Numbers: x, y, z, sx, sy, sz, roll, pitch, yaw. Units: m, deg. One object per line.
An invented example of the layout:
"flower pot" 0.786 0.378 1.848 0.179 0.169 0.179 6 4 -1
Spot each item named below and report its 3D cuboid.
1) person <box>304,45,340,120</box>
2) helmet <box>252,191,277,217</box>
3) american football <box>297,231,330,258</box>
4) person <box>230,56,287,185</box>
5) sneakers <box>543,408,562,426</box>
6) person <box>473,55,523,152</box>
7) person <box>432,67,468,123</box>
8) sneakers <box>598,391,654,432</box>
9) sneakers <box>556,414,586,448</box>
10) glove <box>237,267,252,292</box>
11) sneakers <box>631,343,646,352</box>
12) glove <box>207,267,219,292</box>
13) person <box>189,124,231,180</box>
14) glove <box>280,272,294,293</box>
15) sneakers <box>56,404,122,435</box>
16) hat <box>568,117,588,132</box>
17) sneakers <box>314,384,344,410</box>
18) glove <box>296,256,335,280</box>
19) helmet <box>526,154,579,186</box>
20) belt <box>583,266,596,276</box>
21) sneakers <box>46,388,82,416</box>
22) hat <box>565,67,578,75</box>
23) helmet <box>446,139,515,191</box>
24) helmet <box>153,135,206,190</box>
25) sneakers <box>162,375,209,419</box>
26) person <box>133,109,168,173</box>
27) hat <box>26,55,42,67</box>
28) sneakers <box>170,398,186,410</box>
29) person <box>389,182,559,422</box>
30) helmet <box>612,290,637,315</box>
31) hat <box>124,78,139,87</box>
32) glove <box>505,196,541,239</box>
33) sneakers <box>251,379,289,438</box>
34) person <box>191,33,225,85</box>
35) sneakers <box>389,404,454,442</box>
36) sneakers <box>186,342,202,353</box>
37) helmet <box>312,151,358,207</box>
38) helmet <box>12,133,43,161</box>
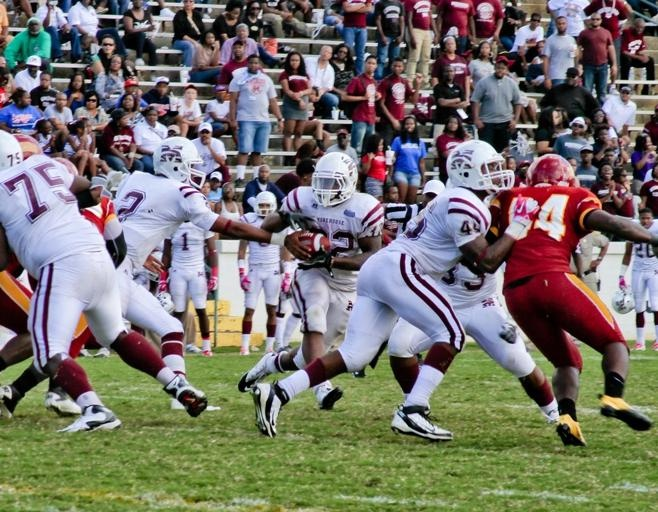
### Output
"person" -0.106 -2.293 15.452 0.445 0.940 0.699 2 6 7
"helmet" -0.672 -0.561 12.432 0.247 0.229 0.294 1 -3 4
"american football" -0.116 -0.096 8.665 0.245 0.141 0.158 19 -3 39
"person" -0.946 -1.717 14.706 0.683 1.552 0.477 -1 7 -23
"sneakers" 1.593 1.167 8.431 0.060 0.076 0.155 -41 -7 -13
"person" 2.190 -2.000 15.435 0.641 1.252 0.522 2 6 8
"person" 1.593 -2.096 15.159 0.463 0.749 0.753 -1 6 -19
"sneakers" 1.946 1.049 7.759 0.328 0.241 0.206 2 6 11
"sneakers" 1.618 1.198 7.896 0.148 0.246 0.112 -31 11 18
"glove" -0.928 0.259 12.786 0.085 0.233 0.176 -13 -36 1
"sneakers" 3.535 1.050 13.395 0.213 0.087 0.075 4 -5 -33
"glove" -1.281 0.240 12.874 0.126 0.302 0.087 13 -14 0
"person" -1.524 -1.238 14.159 0.616 0.732 0.599 -3 10 -10
"glove" -0.458 0.297 12.526 0.101 0.252 0.189 10 4 -17
"sneakers" -1.569 1.091 7.784 0.473 0.193 0.152 0 -2 -11
"hat" 3.110 -1.664 14.737 0.169 0.114 0.231 5 5 8
"sneakers" -0.012 1.077 8.966 0.111 0.128 0.273 -43 1 -19
"glove" -0.096 0.078 8.689 0.184 0.066 0.170 0 29 -9
"helmet" 1.571 -0.606 8.309 0.312 0.232 0.216 1 15 -9
"belt" 2.994 0.178 13.537 0.057 0.108 0.271 -4 6 45
"sneakers" -1.859 1.028 8.226 0.279 0.101 0.134 46 6 -46
"hat" 3.212 -2.457 15.606 0.143 0.128 0.297 2 6 11
"helmet" 1.079 -0.624 8.370 0.512 0.307 0.370 6 -3 38
"helmet" -1.120 -0.711 8.801 0.452 0.352 0.333 8 8 -1
"sneakers" -1.071 0.977 8.232 0.221 0.161 0.457 28 4 -45
"person" -2.072 -1.429 13.875 0.451 0.376 1.069 -2 -31 -8
"hat" -3.508 -2.339 13.954 0.137 0.090 0.177 7 15 -22
"sneakers" -1.141 1.121 8.759 0.131 0.112 0.125 1 -4 6
"person" 1.045 0.366 8.434 1.356 1.031 1.955 10 39 -4
"helmet" 3.425 0.537 13.744 0.237 0.267 0.279 5 6 25
"hat" -2.364 -2.074 13.944 0.198 0.092 0.271 0 2 -11
"glove" 1.313 -0.269 8.053 0.227 0.299 0.116 12 -7 18
"sneakers" -0.422 1.018 7.995 0.238 0.443 0.155 -17 8 -13
"person" -1.632 -2.618 15.452 0.442 0.665 0.306 2 6 3
"sneakers" 0.591 1.165 8.131 0.558 0.249 0.175 11 -11 -6
"sneakers" -1.508 1.005 12.751 0.221 0.089 0.071 6 21 8
"helmet" 0.071 -0.526 8.827 0.337 0.336 0.422 -13 -9 25
"helmet" -2.180 -0.811 8.466 0.234 0.206 0.212 -7 -7 -19
